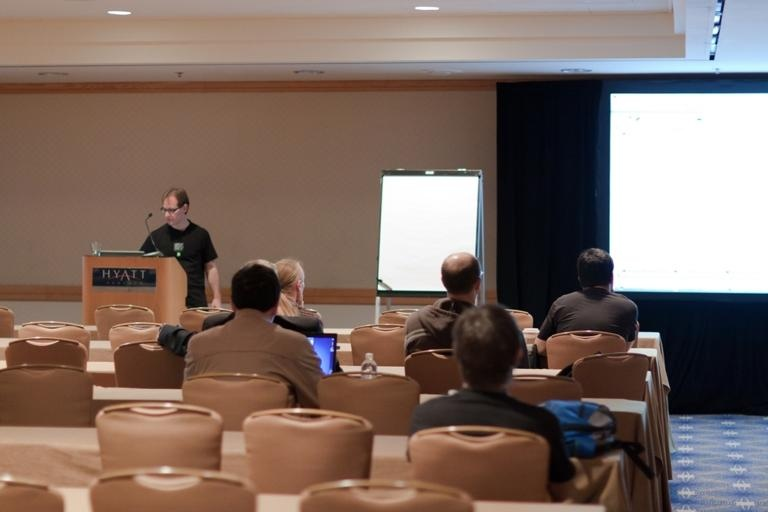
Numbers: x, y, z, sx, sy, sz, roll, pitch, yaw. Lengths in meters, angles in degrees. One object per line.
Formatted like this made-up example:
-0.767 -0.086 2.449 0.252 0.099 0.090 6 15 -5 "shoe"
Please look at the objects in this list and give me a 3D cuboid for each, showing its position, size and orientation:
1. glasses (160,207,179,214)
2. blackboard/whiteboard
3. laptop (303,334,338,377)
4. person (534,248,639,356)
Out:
-2.391 -0.509 7.014 0.119 0.037 0.126 1 0 10 "glasses"
0.541 -0.236 7.373 1.486 1.779 0.233 0 -12 5 "blackboard/whiteboard"
-0.397 0.628 4.123 0.270 0.266 0.223 -1 -5 -6 "laptop"
1.988 0.404 6.035 0.874 1.428 0.729 4 6 9 "person"
